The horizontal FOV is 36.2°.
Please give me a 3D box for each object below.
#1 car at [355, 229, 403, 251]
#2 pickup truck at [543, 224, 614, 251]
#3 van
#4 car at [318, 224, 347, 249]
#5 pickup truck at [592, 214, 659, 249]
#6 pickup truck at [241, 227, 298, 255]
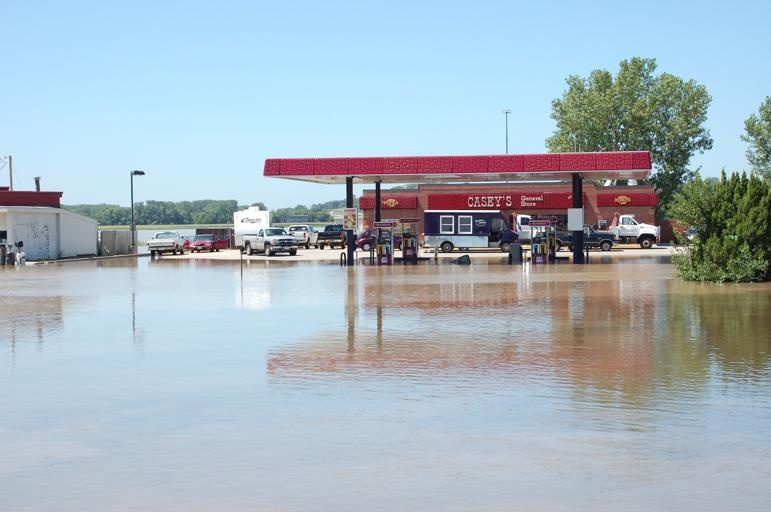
[{"bbox_3d":[-0.439,-1.036,62.478,2.207,0.852,1.171,-3,5,0],"label":"car"},{"bbox_3d":[10.330,-0.884,62.478,4.035,1.332,1.988,-1,2,8],"label":"pickup truck"},{"bbox_3d":[4.462,-1.534,61.955,4.882,1.759,1.902,1,3,18],"label":"van"},{"bbox_3d":[-3.145,-1.230,70.866,1.310,0.861,2.271,0,4,7],"label":"car"},{"bbox_3d":[13.775,-1.587,67.873,4.170,1.811,1.646,-3,6,32],"label":"pickup truck"},{"bbox_3d":[-6.039,-0.895,62.235,1.795,1.396,3.163,-2,0,-29],"label":"pickup truck"}]
